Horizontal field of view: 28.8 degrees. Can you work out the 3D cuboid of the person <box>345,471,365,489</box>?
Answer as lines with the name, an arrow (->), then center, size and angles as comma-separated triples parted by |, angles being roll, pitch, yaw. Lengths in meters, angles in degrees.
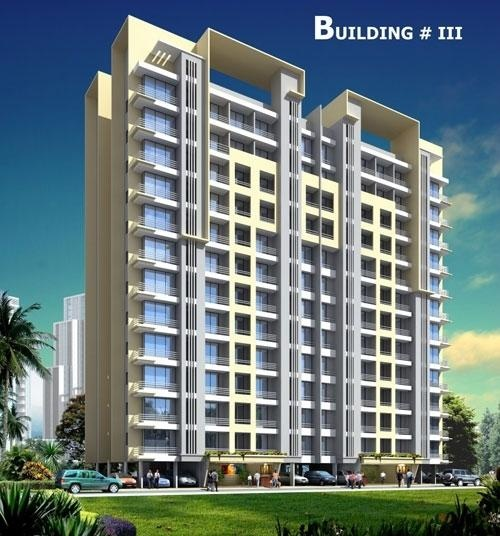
person -> 8.871, 17.786, 81.384 | 1.479, 1.845, 0.737 | 6, -11, 5
